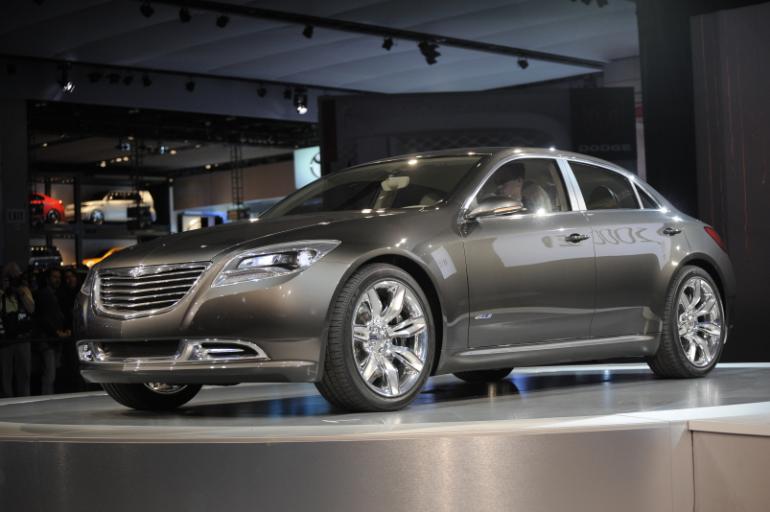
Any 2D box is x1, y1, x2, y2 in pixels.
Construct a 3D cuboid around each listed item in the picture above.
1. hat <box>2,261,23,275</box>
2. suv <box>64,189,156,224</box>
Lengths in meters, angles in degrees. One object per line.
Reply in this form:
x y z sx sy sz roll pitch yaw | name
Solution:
-6.953 0.215 11.152 0.179 0.191 0.242 -1 -26 -8 | hat
-13.427 -2.862 29.707 3.909 1.703 2.172 3 -4 -34 | suv
